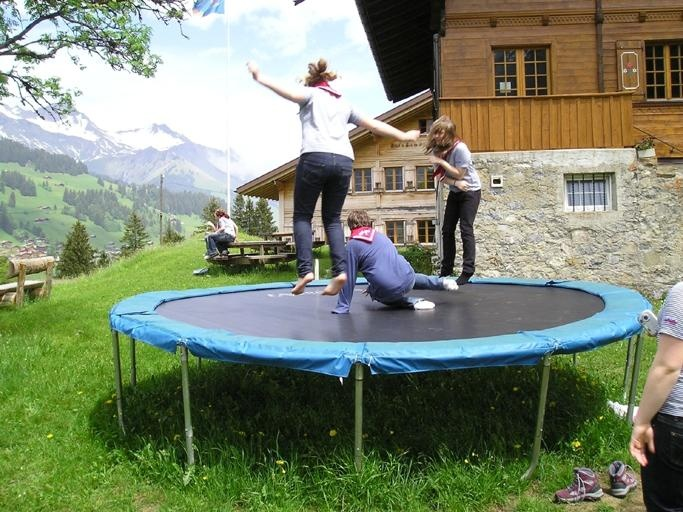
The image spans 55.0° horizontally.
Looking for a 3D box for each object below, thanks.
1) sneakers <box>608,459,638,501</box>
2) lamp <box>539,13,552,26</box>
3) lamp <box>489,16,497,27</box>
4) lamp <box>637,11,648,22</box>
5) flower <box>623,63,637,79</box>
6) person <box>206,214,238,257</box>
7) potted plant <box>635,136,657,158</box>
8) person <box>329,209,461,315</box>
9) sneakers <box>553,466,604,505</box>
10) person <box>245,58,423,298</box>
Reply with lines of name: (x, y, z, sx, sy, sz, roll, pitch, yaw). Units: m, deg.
sneakers: (2.091, 1.639, 4.869, 0.120, 0.189, 0.329, -5, -4, 35)
lamp: (3.617, -4.207, 11.681, 0.168, 0.146, 0.268, -4, 21, 16)
lamp: (2.685, -4.201, 11.702, 0.117, 0.245, 0.130, -1, 2, 1)
lamp: (5.369, -4.266, 11.706, 0.209, 0.184, 0.086, -10, 15, -28)
flower: (5.130, -3.318, 11.666, 0.243, 0.200, 0.069, -5, 14, -12)
person: (-2.404, -0.414, 13.128, 0.571, 1.035, 0.424, -2, -13, 9)
potted plant: (4.916, -1.737, 10.678, 0.278, 0.288, 0.196, -1, 14, 3)
person: (0.521, 0.071, 6.186, 1.171, 0.943, 0.641, 3, 8, 2)
sneakers: (1.713, 1.656, 4.747, 0.410, 0.198, 0.187, -8, 15, -22)
person: (-0.164, -0.632, 5.703, 1.059, 2.084, 0.564, -12, 17, -36)
